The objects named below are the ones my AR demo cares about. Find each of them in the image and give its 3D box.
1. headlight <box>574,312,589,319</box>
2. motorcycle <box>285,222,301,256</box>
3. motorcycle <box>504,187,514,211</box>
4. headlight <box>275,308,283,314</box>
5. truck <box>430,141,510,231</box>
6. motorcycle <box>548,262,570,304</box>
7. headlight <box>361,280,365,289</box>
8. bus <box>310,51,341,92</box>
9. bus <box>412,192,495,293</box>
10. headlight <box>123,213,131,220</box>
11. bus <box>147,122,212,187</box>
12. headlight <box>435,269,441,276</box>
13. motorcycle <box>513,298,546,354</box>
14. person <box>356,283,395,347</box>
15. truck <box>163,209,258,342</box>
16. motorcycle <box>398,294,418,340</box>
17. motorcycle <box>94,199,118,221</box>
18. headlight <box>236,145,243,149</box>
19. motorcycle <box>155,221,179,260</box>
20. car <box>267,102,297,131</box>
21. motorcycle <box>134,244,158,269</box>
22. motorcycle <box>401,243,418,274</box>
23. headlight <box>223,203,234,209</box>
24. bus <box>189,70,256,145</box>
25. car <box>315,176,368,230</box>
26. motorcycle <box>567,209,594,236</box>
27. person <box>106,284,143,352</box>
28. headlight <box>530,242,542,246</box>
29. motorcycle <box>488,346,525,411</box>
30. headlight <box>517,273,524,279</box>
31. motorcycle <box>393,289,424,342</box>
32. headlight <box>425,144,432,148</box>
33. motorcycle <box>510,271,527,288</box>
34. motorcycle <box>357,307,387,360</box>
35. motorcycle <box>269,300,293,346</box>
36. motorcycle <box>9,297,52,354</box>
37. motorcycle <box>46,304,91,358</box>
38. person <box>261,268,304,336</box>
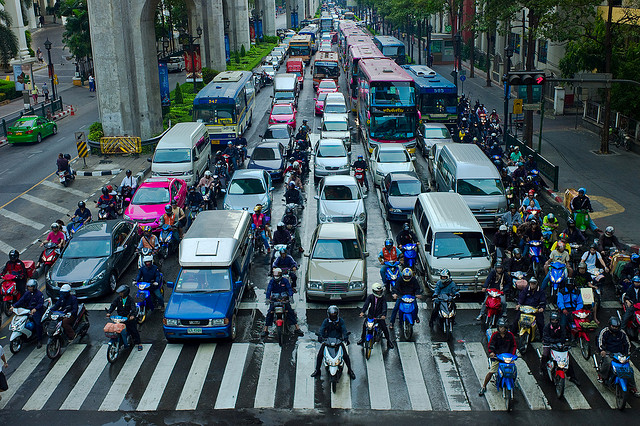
[{"bbox_3d":[8.168,3.196,17.880,0.352,0.171,0.193,10,28,25],"label":"headlight"},{"bbox_3d":[-1.195,1.130,24.651,0.442,1.290,1.292,-5,25,-4],"label":"motorcycle"},{"bbox_3d":[9.130,-0.713,27.663,0.643,0.623,1.178,0,30,12],"label":"motorcycle"},{"bbox_3d":[-1.363,3.271,19.045,0.207,0.161,0.144,4,35,2],"label":"headlight"},{"bbox_3d":[7.532,-1.392,28.784,2.361,2.552,5.249,-4,30,6],"label":"truck"},{"bbox_3d":[8.459,2.366,20.368,0.504,1.020,1.722,2,18,17],"label":"motorcycle"},{"bbox_3d":[1.577,2.606,20.789,0.132,0.194,0.046,-2,5,-42],"label":"headlight"},{"bbox_3d":[0.649,-15.437,60.823,2.000,2.453,6.073,0,26,2],"label":"bus"},{"bbox_3d":[5.330,1.190,23.786,2.538,2.572,5.887,-2,20,-1],"label":"bus"},{"bbox_3d":[-8.719,0.200,25.804,0.262,0.128,0.771,-15,29,-23],"label":"headlight"},{"bbox_3d":[-7.907,-3.392,33.045,2.160,2.367,4.556,1,26,2],"label":"bus"},{"bbox_3d":[4.373,2.225,21.212,0.219,0.226,0.055,5,-2,36],"label":"headlight"},{"bbox_3d":[6.733,3.683,18.409,0.658,0.995,1.551,5,9,19],"label":"motorcycle"},{"bbox_3d":[1.854,3.462,18.326,0.852,1.169,1.823,-1,17,27],"label":"person"},{"bbox_3d":[-3.850,2.281,20.704,2.034,2.165,4.894,3,39,2],"label":"truck"},{"bbox_3d":[2.964,3.503,19.182,0.560,1.563,0.429,0,24,7],"label":"motorcycle"},{"bbox_3d":[-10.459,-0.059,28.021,0.907,0.998,0.928,-14,27,-22],"label":"motorcycle"},{"bbox_3d":[-4.969,-4.064,35.261,0.460,0.130,0.350,1,30,10],"label":"headlight"},{"bbox_3d":[-6.827,1.007,25.701,0.813,1.529,2.630,2,14,-5],"label":"motorcycle"},{"bbox_3d":[-2.809,-7.470,44.008,1.993,2.025,4.895,-2,15,-1],"label":"car"},{"bbox_3d":[-7.016,1.695,22.634,0.706,0.838,1.223,-1,14,-1],"label":"motorcycle"},{"bbox_3d":[3.549,1.739,22.586,0.496,0.705,1.096,-3,19,5],"label":"motorcycle"},{"bbox_3d":[-4.310,-0.262,26.582,0.355,0.111,0.245,11,28,-1],"label":"headlight"},{"bbox_3d":[-6.706,-8.338,42.060,2.720,3.817,9.659,0,30,5],"label":"bus"},{"bbox_3d":[1.011,-0.650,28.166,2.343,1.980,5.840,-2,16,-2],"label":"car"},{"bbox_3d":[11.101,0.413,24.557,0.670,1.182,1.026,12,29,30],"label":"motorcycle"},{"bbox_3d":[-6.532,3.580,19.420,1.131,2.182,1.358,-4,6,-8],"label":"person"},{"bbox_3d":[8.494,1.216,22.537,0.360,0.137,0.113,0,25,6],"label":"headlight"},{"bbox_3d":[5.371,4.733,16.828,0.817,1.440,1.509,7,27,20],"label":"motorcycle"},{"bbox_3d":[7.081,2.259,20.253,0.134,0.052,0.138,-14,27,-18],"label":"headlight"},{"bbox_3d":[3.017,3.427,19.794,0.868,1.490,2.239,1,3,5],"label":"motorcycle"},{"bbox_3d":[6.860,-4.217,36.032,0.403,0.163,0.313,6,9,-12],"label":"headlight"},{"bbox_3d":[7.147,2.334,20.608,0.442,0.638,0.696,-1,25,4],"label":"motorcycle"},{"bbox_3d":[1.767,3.895,18.668,0.688,1.409,1.081,-1,25,4],"label":"motorcycle"},{"bbox_3d":[-1.371,3.671,19.228,0.536,1.373,0.784,3,25,12],"label":"motorcycle"},{"bbox_3d":[-10.024,3.890,19.862,0.618,1.380,2.366,-4,3,6],"label":"motorcycle"},{"bbox_3d":[-8.719,3.875,19.602,0.735,1.424,2.358,-2,11,12],"label":"motorcycle"},{"bbox_3d":[-1.228,2.782,19.415,1.130,1.378,2.367,-2,49,2],"label":"person"}]
